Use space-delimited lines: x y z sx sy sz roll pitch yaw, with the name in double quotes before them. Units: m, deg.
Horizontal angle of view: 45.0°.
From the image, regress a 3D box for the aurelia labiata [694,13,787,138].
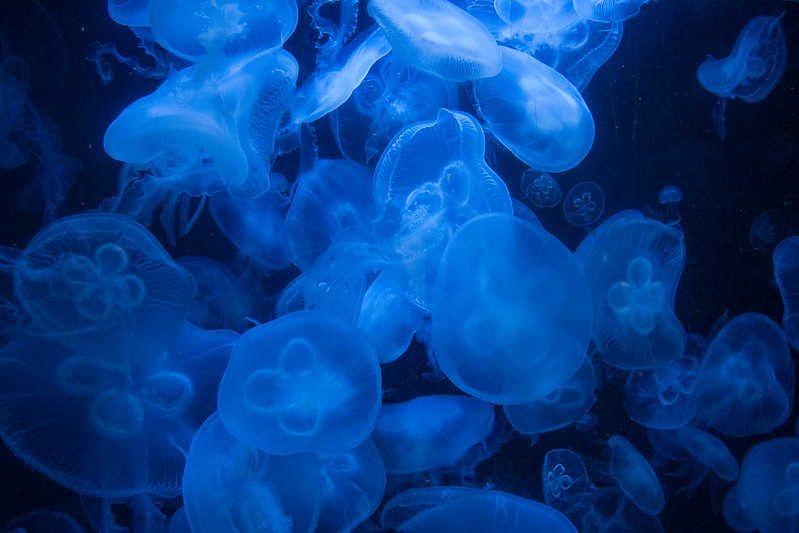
"aurelia labiata" 3.057 -1.572 8.867 0.718 0.412 1.169 23 -94 3
